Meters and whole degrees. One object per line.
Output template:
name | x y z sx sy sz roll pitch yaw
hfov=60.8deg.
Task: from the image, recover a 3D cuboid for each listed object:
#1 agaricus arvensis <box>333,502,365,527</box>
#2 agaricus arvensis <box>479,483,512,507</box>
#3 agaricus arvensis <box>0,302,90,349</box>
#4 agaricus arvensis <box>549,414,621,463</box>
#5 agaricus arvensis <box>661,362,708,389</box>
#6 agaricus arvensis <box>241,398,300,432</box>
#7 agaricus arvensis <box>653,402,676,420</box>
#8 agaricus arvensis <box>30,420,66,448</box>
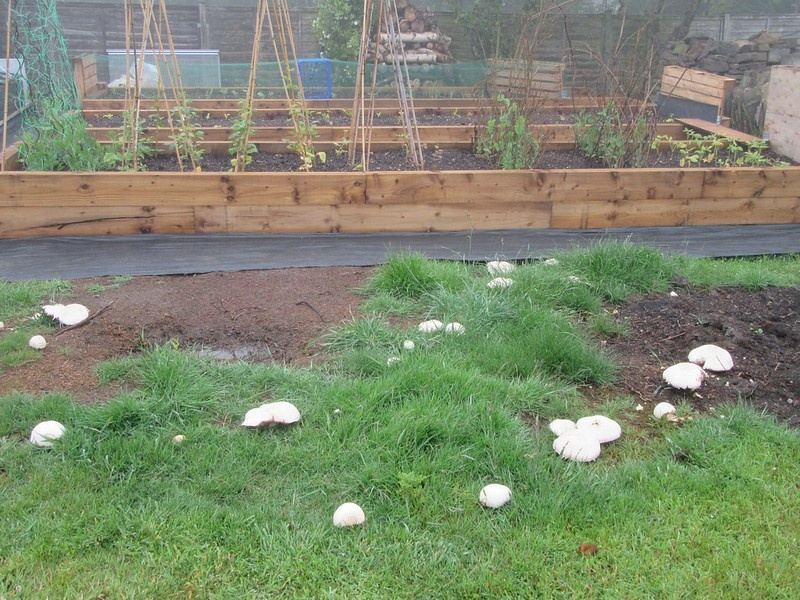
agaricus arvensis | -0.257 1.082 3.373 0.134 0.062 0.117 7 23 16
agaricus arvensis | 0.490 1.003 3.476 0.151 0.069 0.111 -2 15 13
agaricus arvensis | -2.381 0.141 4.672 0.351 0.103 0.455 7 19 11
agaricus arvensis | 1.062 0.804 3.864 0.418 0.161 0.341 5 20 10
agaricus arvensis | 1.789 0.481 4.265 0.219 0.065 0.183 -16 30 -19
agaricus arvensis | -0.746 0.674 3.935 0.251 0.061 0.170 1 7 -24
agaricus arvensis | 1.594 0.671 4.143 0.115 0.095 0.109 -17 29 -24
agaricus arvensis | -1.941 0.749 3.760 0.194 0.105 0.134 8 21 16
